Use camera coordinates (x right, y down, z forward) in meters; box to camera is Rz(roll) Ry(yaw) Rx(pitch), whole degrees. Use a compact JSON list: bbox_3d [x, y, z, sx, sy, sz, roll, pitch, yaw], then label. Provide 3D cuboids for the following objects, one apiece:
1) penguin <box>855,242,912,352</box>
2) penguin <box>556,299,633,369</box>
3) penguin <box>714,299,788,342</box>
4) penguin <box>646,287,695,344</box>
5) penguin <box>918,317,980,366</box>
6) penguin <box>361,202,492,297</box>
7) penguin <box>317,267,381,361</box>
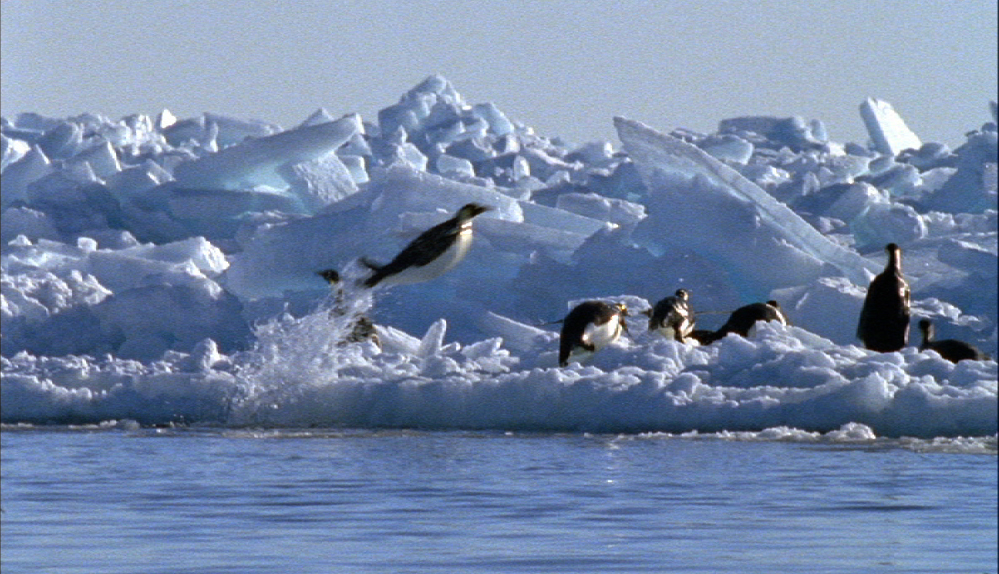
[{"bbox_3d":[6.603,0.162,32.132,1.350,1.723,1.083,0,12,0],"label":"penguin"},{"bbox_3d":[1.589,0.776,32.239,0.894,1.086,0.434,7,-9,-9],"label":"penguin"},{"bbox_3d":[4.455,0.543,33.127,1.027,0.729,1.391,7,-7,-20],"label":"penguin"},{"bbox_3d":[2.939,0.535,33.343,1.001,0.909,1.528,7,5,14],"label":"penguin"},{"bbox_3d":[7.472,0.941,32.088,1.143,0.745,0.575,4,-5,11],"label":"penguin"},{"bbox_3d":[-1.075,-0.632,31.459,2.420,0.865,2.362,-21,-4,21],"label":"penguin"},{"bbox_3d":[-2.540,0.490,33.555,0.815,1.568,0.769,-5,-7,2],"label":"penguin"}]
